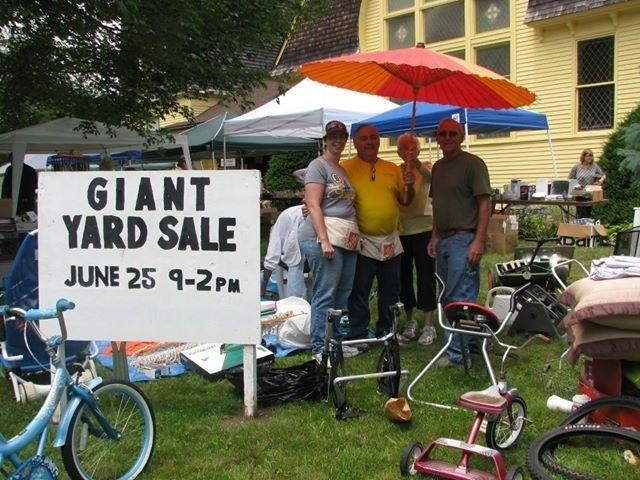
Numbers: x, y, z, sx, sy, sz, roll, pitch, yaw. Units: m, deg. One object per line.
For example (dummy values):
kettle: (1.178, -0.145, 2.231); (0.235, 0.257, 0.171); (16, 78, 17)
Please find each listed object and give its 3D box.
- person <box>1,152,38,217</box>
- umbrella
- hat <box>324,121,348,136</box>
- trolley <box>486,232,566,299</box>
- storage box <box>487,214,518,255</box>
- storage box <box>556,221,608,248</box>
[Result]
person: (-5.324, -0.999, 10.905); (0.630, 0.960, 2.381); (-8, 16, -23)
umbrella: (1.127, -1.798, 7.151); (1.973, 0.895, 2.032); (-10, 32, -11)
hat: (0.175, -1.135, 6.362); (0.209, 0.136, 0.179); (1, 15, 9)
trolley: (2.455, 0.296, 7.529); (0.564, 0.911, 0.931); (-4, 7, -17)
storage box: (3.485, -0.107, 11.691); (0.460, 0.726, 0.439); (9, 20, 44)
storage box: (5.129, -0.091, 12.138); (0.920, 0.412, 0.441); (7, 17, 28)
